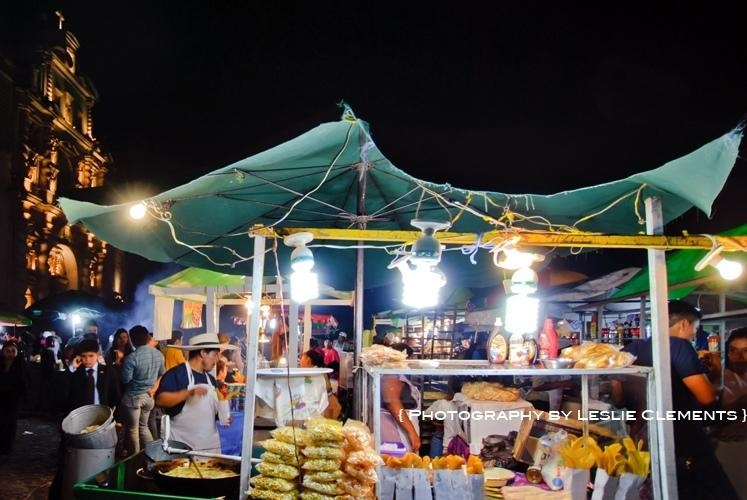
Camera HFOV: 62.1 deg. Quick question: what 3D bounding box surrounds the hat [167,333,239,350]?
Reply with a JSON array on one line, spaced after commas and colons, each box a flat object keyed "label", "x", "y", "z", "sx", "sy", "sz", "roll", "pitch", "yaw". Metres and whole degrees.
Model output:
[{"label": "hat", "x": -2.761, "y": 1.523, "z": 10.242, "sx": 0.721, "sy": 0.165, "sz": 0.640, "roll": -7, "pitch": -12, "yaw": 37}]

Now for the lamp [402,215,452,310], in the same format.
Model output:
[{"label": "lamp", "x": 0.676, "y": 0.158, "z": 8.037, "sx": 0.590, "sy": 1.079, "sz": 0.807, "roll": 1, "pitch": -13, "yaw": 2}]

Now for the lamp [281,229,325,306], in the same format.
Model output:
[{"label": "lamp", "x": -0.997, "y": 0.247, "z": 8.693, "sx": 0.455, "sy": 1.074, "sz": 1.797, "roll": 3, "pitch": -12, "yaw": -6}]

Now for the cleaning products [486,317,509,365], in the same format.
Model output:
[{"label": "cleaning products", "x": 1.753, "y": 1.249, "z": 8.579, "sx": 0.268, "sy": 0.629, "sz": 0.424, "roll": -1, "pitch": -13, "yaw": 12}]

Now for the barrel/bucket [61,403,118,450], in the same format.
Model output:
[{"label": "barrel/bucket", "x": -4.252, "y": 2.693, "z": 9.448, "sx": 0.759, "sy": 0.519, "sz": 0.695, "roll": 0, "pitch": -17, "yaw": 0}]

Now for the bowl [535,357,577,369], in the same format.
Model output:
[{"label": "bowl", "x": 2.432, "y": 1.492, "z": 8.185, "sx": 0.457, "sy": 0.137, "sz": 0.214, "roll": -2, "pitch": -13, "yaw": 14}]

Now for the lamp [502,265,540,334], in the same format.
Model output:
[{"label": "lamp", "x": 2.013, "y": 0.684, "z": 8.379, "sx": 0.456, "sy": 0.923, "sz": 0.547, "roll": -1, "pitch": -13, "yaw": 11}]

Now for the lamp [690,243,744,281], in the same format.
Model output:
[{"label": "lamp", "x": 4.641, "y": 0.148, "z": 8.281, "sx": 0.535, "sy": 0.415, "sz": 0.297, "roll": 6, "pitch": -13, "yaw": -20}]

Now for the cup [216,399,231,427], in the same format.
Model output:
[{"label": "cup", "x": -2.392, "y": 2.606, "z": 9.970, "sx": 0.181, "sy": 0.399, "sz": 0.281, "roll": 2, "pitch": -13, "yaw": 0}]

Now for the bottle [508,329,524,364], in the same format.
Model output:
[{"label": "bottle", "x": 1.965, "y": 1.328, "z": 8.348, "sx": 0.222, "sy": 0.442, "sz": 0.216, "roll": 2, "pitch": -13, "yaw": 0}]
